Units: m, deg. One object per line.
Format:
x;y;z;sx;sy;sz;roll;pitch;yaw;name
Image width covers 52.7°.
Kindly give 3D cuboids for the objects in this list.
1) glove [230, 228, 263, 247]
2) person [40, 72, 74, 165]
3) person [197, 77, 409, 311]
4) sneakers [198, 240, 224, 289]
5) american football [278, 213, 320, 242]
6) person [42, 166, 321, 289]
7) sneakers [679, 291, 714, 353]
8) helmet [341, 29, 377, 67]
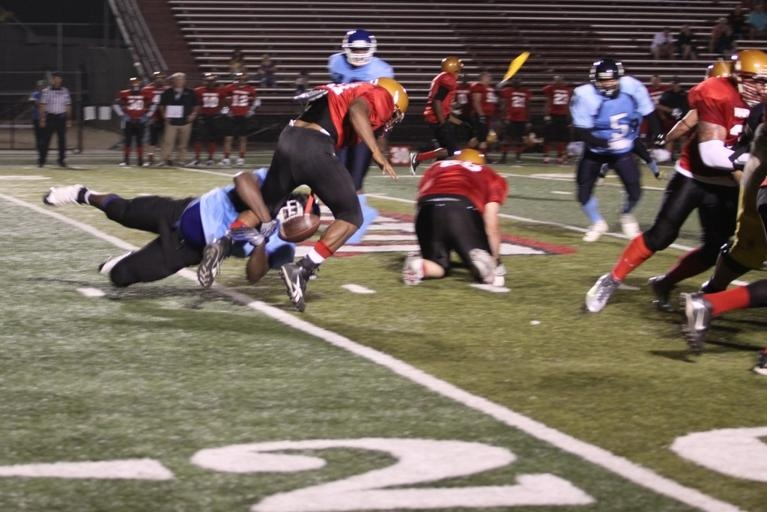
-0.926;-0.124;5.167;0.224;0.133;0.233;4;7;0;glove
-6.584;-2.651;15.234;0.583;1.833;0.978;5;10;-21;person
-0.333;-0.433;5.129;0.903;1.562;0.685;5;10;-14;person
-1.139;0.052;5.055;0.163;0.334;0.204;9;9;7;sneakers
-0.595;-0.189;5.348;0.299;0.120;0.270;-18;9;-15;american football
-1.419;-0.165;5.518;2.090;0.415;0.915;1;7;4;person
1.756;0.371;4.295;0.194;0.287;0.179;-5;13;14;sneakers
-0.232;-1.771;6.568;0.476;0.273;0.374;-1;39;-4;helmet
